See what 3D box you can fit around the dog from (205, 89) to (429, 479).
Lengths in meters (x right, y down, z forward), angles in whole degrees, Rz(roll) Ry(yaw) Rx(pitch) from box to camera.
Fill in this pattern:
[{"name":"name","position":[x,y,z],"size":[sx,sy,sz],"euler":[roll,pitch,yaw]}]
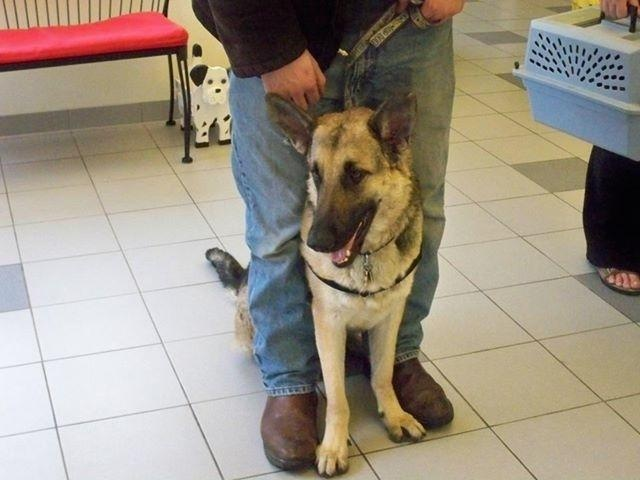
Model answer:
[{"name":"dog","position":[0.162,0.183,2.064],"size":[0.568,1.334,0.692],"euler":[-6,37,-4]}]

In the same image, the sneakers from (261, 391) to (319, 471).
[{"name":"sneakers","position":[-0.125,0.761,2.244],"size":[0.145,0.148,0.351],"euler":[-1,18,-6]}]
